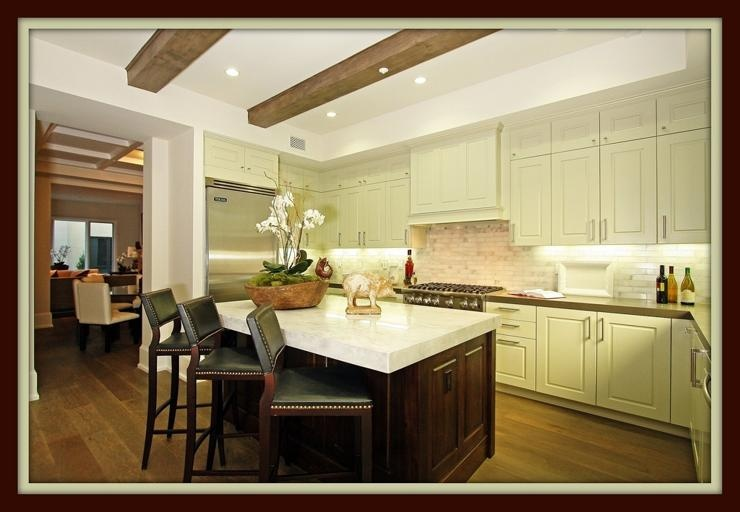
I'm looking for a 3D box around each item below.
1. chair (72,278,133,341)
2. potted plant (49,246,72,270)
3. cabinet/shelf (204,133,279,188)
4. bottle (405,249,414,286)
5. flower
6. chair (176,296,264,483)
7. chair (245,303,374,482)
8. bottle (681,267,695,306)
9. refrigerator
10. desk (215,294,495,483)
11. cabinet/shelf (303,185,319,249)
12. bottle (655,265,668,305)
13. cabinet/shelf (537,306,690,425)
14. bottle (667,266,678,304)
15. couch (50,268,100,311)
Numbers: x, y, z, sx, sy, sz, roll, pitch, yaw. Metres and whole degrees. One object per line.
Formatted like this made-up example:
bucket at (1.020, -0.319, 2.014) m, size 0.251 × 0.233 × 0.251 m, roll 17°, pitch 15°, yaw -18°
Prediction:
chair at (-3.409, 0.637, 6.222) m, size 0.625 × 0.802 × 0.680 m, roll 3°, pitch 3°, yaw 18°
potted plant at (-7.065, 0.003, 10.656) m, size 0.378 × 0.535 × 1.071 m, roll -3°, pitch 2°, yaw -33°
cabinet/shelf at (-1.628, -1.062, 5.657) m, size 0.321 × 0.471 × 1.064 m, roll -5°, pitch -5°, yaw 39°
bottle at (0.504, 0.132, 6.006) m, size 0.134 × 0.445 × 0.384 m, roll -1°, pitch 2°, yaw 5°
flower at (-0.698, -0.118, 3.902) m, size 0.562 × 0.749 × 0.597 m, roll -4°, pitch -2°, yaw 33°
chair at (-0.937, 0.939, 3.426) m, size 0.891 × 1.164 × 0.810 m, roll -2°, pitch 0°, yaw -17°
chair at (-0.361, 0.892, 3.090) m, size 0.861 × 1.016 × 0.713 m, roll 2°, pitch 5°, yaw -12°
bottle at (2.812, 0.259, 4.128) m, size 0.118 × 0.328 × 0.323 m, roll 0°, pitch 2°, yaw 34°
refrigerator at (-1.744, -0.201, 5.743) m, size 0.756 × 1.383 × 0.762 m, roll 31°, pitch 17°, yaw 37°
desk at (0.140, 1.105, 3.840) m, size 1.252 × 1.181 × 2.230 m, roll 1°, pitch -4°, yaw 26°
cabinet/shelf at (-0.811, -0.455, 6.492) m, size 0.122 × 0.797 × 0.446 m, roll 8°, pitch -19°, yaw -16°
bottle at (2.650, 0.248, 4.232) m, size 0.084 × 0.335 × 0.261 m, roll 0°, pitch 2°, yaw 31°
cabinet/shelf at (2.315, 0.911, 4.434) m, size 1.640 × 1.121 × 0.833 m, roll -2°, pitch -4°, yaw 41°
bottle at (2.734, 0.250, 4.219) m, size 0.084 × 0.329 × 0.231 m, roll 0°, pitch 3°, yaw 32°
couch at (-5.781, 0.621, 8.961) m, size 1.419 × 0.555 × 0.772 m, roll 7°, pitch 9°, yaw 43°
